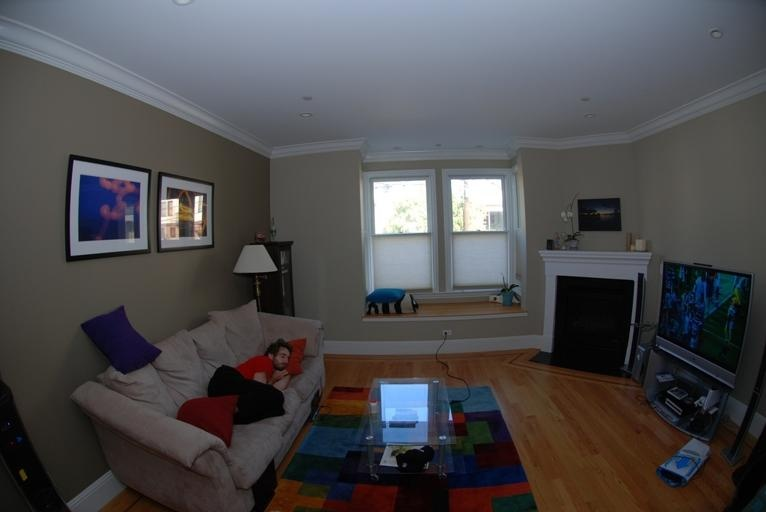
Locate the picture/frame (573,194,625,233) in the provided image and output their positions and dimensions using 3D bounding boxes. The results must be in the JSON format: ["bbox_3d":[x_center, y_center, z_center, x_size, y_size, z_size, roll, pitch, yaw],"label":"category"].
[{"bbox_3d":[2.747,-0.545,5.975,0.499,0.441,0.023,-1,3,11],"label":"picture/frame"}]

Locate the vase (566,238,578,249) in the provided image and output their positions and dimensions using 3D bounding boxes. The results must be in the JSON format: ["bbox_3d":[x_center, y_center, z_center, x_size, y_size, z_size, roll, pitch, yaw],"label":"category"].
[{"bbox_3d":[2.380,-0.150,5.984,0.143,0.129,0.180,-1,5,21],"label":"vase"}]

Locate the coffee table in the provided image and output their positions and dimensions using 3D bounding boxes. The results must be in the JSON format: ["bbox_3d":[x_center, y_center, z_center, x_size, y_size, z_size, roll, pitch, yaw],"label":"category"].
[{"bbox_3d":[0.237,1.704,4.478,0.749,0.367,0.757,-2,33,4],"label":"coffee table"}]

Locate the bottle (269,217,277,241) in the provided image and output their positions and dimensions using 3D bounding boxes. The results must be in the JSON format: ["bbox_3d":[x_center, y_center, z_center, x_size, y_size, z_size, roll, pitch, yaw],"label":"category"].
[{"bbox_3d":[-1.457,-0.374,6.269,0.090,0.310,0.057,-2,5,10],"label":"bottle"}]

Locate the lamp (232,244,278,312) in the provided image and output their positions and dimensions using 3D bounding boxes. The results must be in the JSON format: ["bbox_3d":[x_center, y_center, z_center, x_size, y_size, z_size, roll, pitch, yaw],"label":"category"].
[{"bbox_3d":[-1.433,0.334,5.394,0.474,0.934,0.481,2,10,19],"label":"lamp"}]

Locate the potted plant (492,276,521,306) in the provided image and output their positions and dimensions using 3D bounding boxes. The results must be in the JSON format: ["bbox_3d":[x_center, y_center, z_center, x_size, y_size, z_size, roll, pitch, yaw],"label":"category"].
[{"bbox_3d":[1.713,0.464,6.499,0.358,0.426,0.373,-4,3,-36],"label":"potted plant"}]

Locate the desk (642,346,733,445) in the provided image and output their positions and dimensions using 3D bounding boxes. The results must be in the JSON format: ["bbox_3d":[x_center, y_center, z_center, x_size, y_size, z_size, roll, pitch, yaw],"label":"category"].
[{"bbox_3d":[2.972,1.290,4.730,0.373,0.600,0.664,-12,32,-28],"label":"desk"}]

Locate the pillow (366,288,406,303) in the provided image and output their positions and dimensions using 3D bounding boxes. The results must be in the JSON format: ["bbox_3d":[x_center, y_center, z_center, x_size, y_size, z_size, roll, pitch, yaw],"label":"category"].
[{"bbox_3d":[0.040,0.543,6.350,0.533,0.194,0.301,-3,5,-1],"label":"pillow"}]

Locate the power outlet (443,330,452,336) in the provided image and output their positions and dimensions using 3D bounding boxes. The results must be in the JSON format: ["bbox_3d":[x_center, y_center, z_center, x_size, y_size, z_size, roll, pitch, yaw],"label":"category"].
[{"bbox_3d":[0.838,1.013,6.189,0.078,0.074,0.019,5,3,3],"label":"power outlet"}]

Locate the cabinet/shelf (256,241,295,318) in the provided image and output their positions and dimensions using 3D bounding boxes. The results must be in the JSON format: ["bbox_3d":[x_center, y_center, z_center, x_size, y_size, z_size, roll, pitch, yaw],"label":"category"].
[{"bbox_3d":[-1.268,0.265,5.850,0.222,0.866,0.387,0,9,11],"label":"cabinet/shelf"}]

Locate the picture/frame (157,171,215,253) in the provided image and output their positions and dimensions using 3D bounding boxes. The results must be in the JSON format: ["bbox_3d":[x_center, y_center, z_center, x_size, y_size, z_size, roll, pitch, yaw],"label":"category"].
[{"bbox_3d":[-2.008,-0.435,4.846,0.724,0.725,0.023,4,6,21],"label":"picture/frame"}]
